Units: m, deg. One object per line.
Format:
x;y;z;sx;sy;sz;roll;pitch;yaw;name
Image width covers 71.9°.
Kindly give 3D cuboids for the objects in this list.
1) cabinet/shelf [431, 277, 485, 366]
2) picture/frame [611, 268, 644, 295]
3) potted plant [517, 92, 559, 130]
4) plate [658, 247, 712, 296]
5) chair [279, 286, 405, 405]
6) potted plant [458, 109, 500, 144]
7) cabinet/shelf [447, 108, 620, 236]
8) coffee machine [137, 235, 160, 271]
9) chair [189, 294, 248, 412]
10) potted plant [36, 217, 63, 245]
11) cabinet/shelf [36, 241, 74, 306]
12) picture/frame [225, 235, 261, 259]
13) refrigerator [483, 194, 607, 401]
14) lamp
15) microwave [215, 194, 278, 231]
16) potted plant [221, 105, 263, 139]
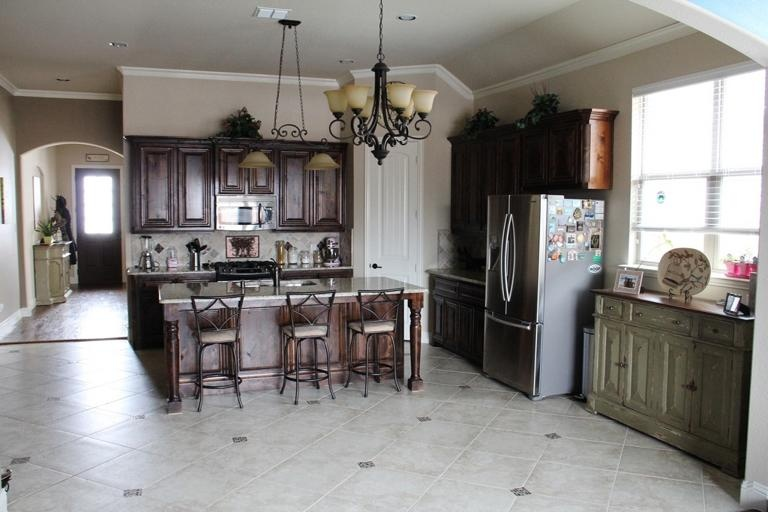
1.101;0.940;7.592;0.431;0.961;1.194;-1;3;-23;cabinet/shelf
2.682;0.277;5.754;0.263;0.290;0.031;7;7;40;picture/frame
1.960;-1.745;6.718;0.482;0.244;0.477;-35;19;-34;potted plant
3.095;0.160;5.385;0.481;0.466;0.066;6;3;39;plate
-0.566;1.062;6.396;1.318;1.099;0.584;-2;6;-26;chair
1.382;-1.893;7.743;0.532;0.188;0.526;-16;9;-37;potted plant
1.982;-1.069;6.740;0.377;1.050;2.088;0;1;-27;cabinet/shelf
-3.672;-0.058;8.183;0.294;0.481;0.401;-5;13;-23;coffee machine
-1.887;1.028;6.042;0.620;1.280;0.618;-5;13;-21;chair
-7.149;-0.518;11.292;0.408;0.493;1.176;-6;12;-27;potted plant
-6.930;0.373;11.069;0.533;1.098;1.309;-2;5;-20;cabinet/shelf
-2.328;-0.161;8.620;0.408;0.278;0.016;-1;13;-15;picture/frame
1.901;0.448;6.321;1.256;2.349;0.783;4;13;17;refrigerator
-0.602;-2.259;7.064;2.100;2.658;1.498;0;2;-3;lamp
-2.180;-0.690;8.260;0.851;0.521;0.560;-1;2;-18;microwave
-2.245;-1.986;8.249;0.587;0.388;0.592;4;5;38;potted plant
